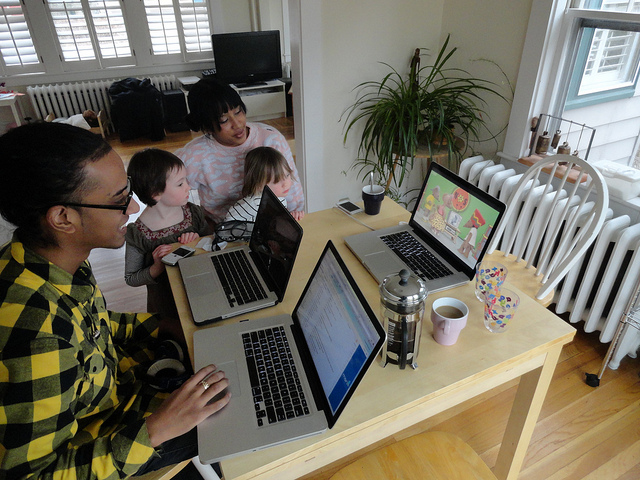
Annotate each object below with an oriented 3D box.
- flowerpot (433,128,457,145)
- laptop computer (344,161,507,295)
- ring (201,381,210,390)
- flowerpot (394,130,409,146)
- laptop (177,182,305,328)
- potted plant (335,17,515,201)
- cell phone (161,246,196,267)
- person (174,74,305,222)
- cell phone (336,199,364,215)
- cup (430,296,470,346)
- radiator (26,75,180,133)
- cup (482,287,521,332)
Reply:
[{"bbox_3d":[0.897,-0.738,3.141,0.124,0.093,0.130,-2,39,1],"label":"flowerpot"},{"bbox_3d":[0.421,-0.060,1.782,0.495,0.347,0.571,-7,31,-8],"label":"laptop computer"},{"bbox_3d":[-0.370,0.473,1.375,0.020,0.018,0.017,23,39,36],"label":"ring"},{"bbox_3d":[0.588,-0.743,3.112,0.071,0.090,0.106,4,42,11],"label":"flowerpot"},{"bbox_3d":[-0.321,0.139,1.798,0.540,0.440,0.620,-7,40,-17],"label":"laptop"},{"bbox_3d":[0.728,-0.886,3.370,1.338,1.432,1.145,-9,42,-8],"label":"potted plant"},{"bbox_3d":[-0.654,0.081,1.980,0.093,0.017,0.164,18,34,23],"label":"cell phone"},{"bbox_3d":[-0.560,-0.489,2.571,0.916,0.874,0.575,-8,47,-6],"label":"person"},{"bbox_3d":[0.156,-0.170,2.252,0.104,0.019,0.183,-19,38,-21],"label":"cell phone"},{"bbox_3d":[0.460,0.281,1.509,0.114,0.121,0.177,6,35,15],"label":"cup"},{"bbox_3d":[-3.269,-1.975,6.522,2.228,1.252,0.272,-10,57,-18],"label":"radiator"},{"bbox_3d":[0.683,0.272,1.608,0.133,0.162,0.144,5,15,-1],"label":"cup"}]
